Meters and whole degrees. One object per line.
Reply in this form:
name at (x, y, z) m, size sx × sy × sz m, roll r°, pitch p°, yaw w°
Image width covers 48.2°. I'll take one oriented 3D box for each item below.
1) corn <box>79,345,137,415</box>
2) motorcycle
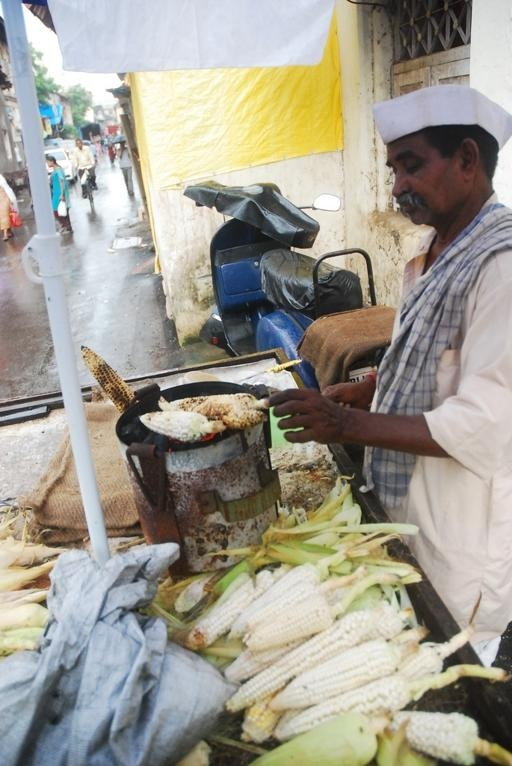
corn at (-0.515, -0.006, 2.054) m, size 0.237 × 0.235 × 0.203 m, roll -2°, pitch 12°, yaw -21°
motorcycle at (0.209, -0.627, 4.806) m, size 1.207 × 1.786 × 2.128 m, roll -11°, pitch 25°, yaw -7°
